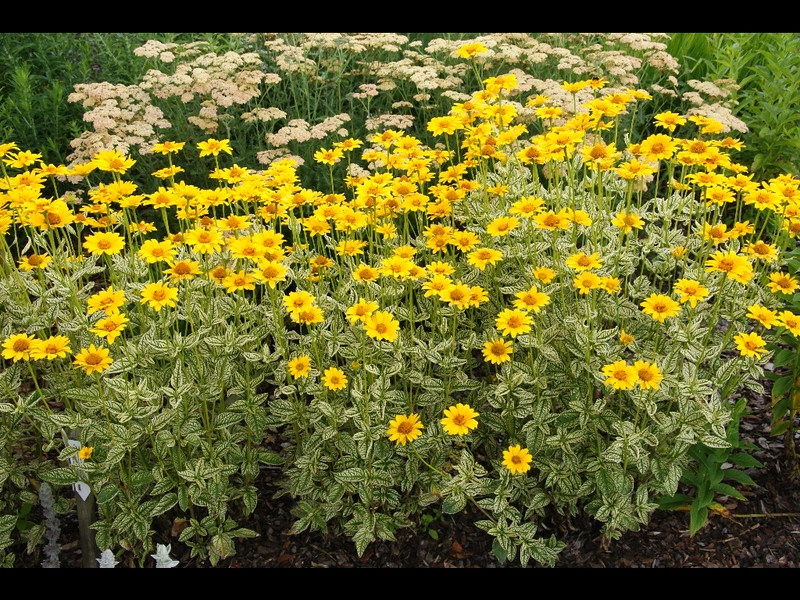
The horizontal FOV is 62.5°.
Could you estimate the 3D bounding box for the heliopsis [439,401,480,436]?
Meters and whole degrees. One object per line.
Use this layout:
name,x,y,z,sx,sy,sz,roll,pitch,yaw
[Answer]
heliopsis,0.265,0.575,3.026,0.155,0.260,0.168,-4,45,-4
